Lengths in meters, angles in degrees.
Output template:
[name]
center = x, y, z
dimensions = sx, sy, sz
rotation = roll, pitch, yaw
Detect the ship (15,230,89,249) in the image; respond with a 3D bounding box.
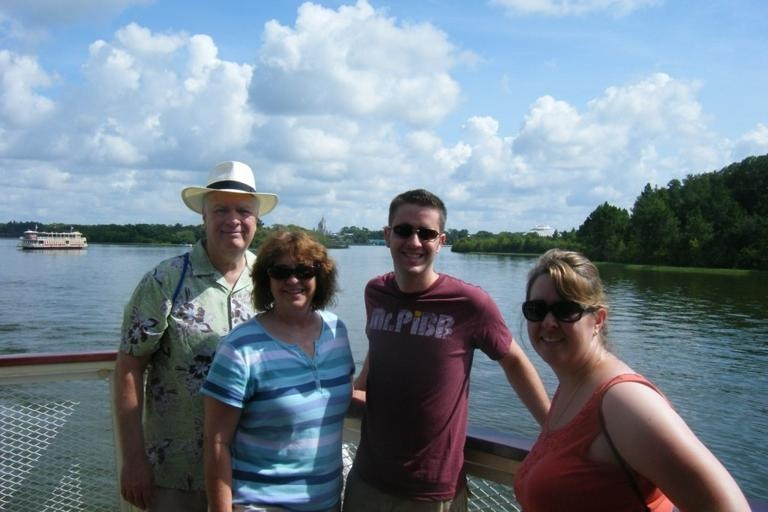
[ship]
center = -69.078, -3.367, 133.551
dimensions = 8.804, 2.673, 5.791
rotation = -1, 4, -22

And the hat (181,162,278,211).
[hat]
center = -1.311, -0.544, 5.274
dimensions = 0.738, 0.292, 0.782
rotation = 1, -14, -5
